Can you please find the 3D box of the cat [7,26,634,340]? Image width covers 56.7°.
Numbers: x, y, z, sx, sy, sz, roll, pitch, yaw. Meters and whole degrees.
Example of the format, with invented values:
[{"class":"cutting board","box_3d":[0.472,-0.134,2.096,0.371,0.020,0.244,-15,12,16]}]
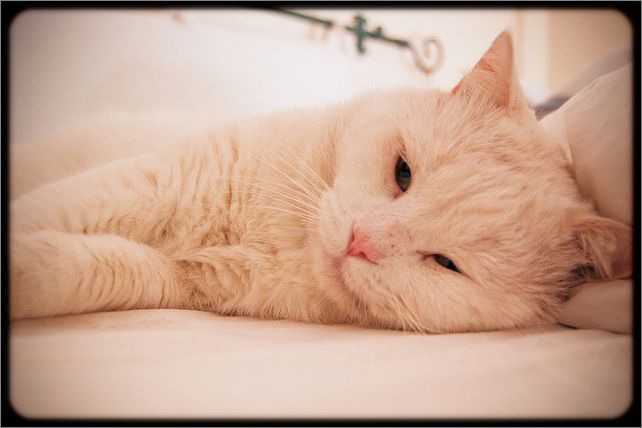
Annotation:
[{"class":"cat","box_3d":[0.002,-0.027,1.902,1.486,0.671,1.031,24,-6,39]}]
